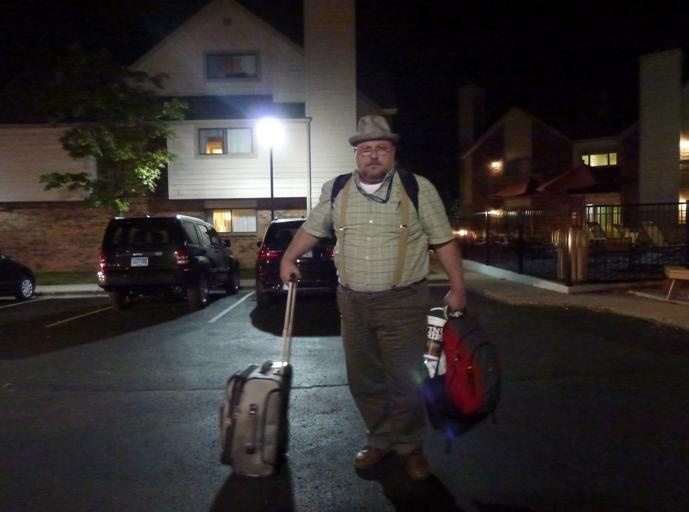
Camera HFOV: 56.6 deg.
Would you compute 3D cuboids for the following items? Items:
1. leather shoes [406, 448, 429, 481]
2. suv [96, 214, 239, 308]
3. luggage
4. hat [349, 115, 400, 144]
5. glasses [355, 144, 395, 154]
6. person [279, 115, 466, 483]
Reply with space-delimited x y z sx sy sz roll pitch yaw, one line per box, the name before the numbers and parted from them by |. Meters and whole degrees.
leather shoes | 0.663 1.877 5.773 0.195 0.205 0.251 -3 5 7
suv | -3.660 0.029 14.367 1.730 1.358 3.295 -1 2 9
luggage | -0.799 1.216 5.822 0.678 1.535 0.669 -1 10 -2
hat | 0.273 -1.157 5.841 0.439 0.272 0.299 0 10 4
glasses | 0.280 -0.972 5.797 0.351 0.099 0.151 -1 9 2
person | 0.319 0.343 5.867 1.431 3.227 0.690 4 11 28
